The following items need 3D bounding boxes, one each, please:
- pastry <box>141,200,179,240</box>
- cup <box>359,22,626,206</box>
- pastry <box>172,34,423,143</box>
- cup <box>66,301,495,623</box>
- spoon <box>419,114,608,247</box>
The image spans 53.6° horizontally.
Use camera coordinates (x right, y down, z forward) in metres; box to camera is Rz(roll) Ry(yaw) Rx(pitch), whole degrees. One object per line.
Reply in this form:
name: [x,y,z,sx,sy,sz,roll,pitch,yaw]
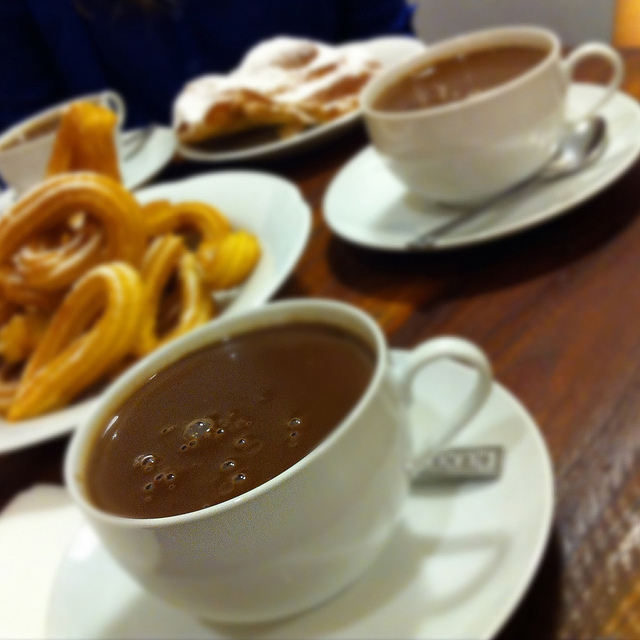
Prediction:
pastry: [-0.082,-0.051,0.323,0.020,0.020,0.006,-11,69,-50]
cup: [0.096,-0.115,0.351,0.145,0.068,0.086,-10,45,4]
pastry: [-0.026,-0.198,0.569,0.133,0.049,0.141,-23,15,7]
cup: [-0.012,0.042,0.198,0.116,0.064,0.097,-18,27,-2]
spoon: [0.100,-0.071,0.326,0.096,0.015,0.018,-40,36,-9]
